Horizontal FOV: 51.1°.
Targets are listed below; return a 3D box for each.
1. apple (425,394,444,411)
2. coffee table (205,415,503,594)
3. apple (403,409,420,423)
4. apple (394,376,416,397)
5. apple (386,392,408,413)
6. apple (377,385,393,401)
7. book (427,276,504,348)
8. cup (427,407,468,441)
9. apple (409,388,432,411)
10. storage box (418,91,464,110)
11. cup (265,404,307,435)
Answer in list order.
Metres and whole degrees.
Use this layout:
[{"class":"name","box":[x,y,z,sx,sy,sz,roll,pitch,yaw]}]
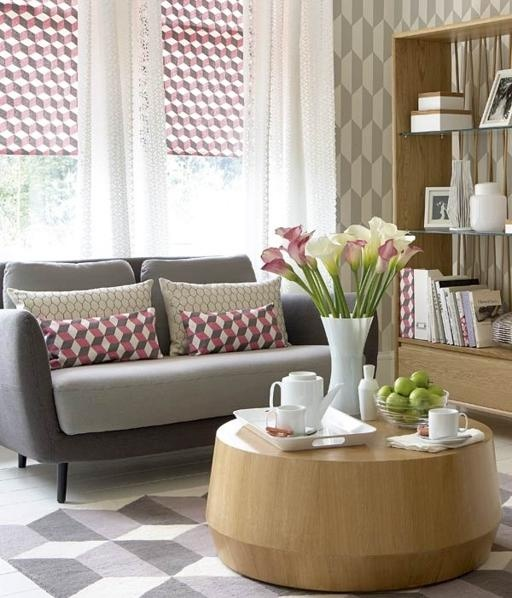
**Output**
[{"class":"apple","box":[0.426,0.247,1.278,0.037,0.043,0.036,-12,10,-42]},{"class":"coffee table","box":[0.233,0.477,1.202,0.696,0.329,0.347,-1,-3,-5]},{"class":"apple","box":[0.381,0.284,1.304,0.033,0.024,0.036,0,-8,0]},{"class":"apple","box":[0.358,0.215,1.328,0.055,0.041,0.039,-11,-37,-9]},{"class":"apple","box":[0.343,0.252,1.303,0.045,0.039,0.043,3,-4,-41]},{"class":"apple","box":[0.330,0.238,1.372,0.039,0.046,0.037,24,-25,-28]},{"class":"book","box":[1.082,0.076,2.873,0.461,0.418,0.328,-1,1,-43]},{"class":"cup","box":[0.431,0.285,1.204,0.088,0.060,0.053,7,-8,-32]},{"class":"apple","box":[0.391,0.240,1.278,0.049,0.047,0.050,-2,-1,0]},{"class":"storage box","box":[1.003,-1.073,2.908,0.108,0.067,0.150,-4,7,-42]},{"class":"cup","box":[0.072,0.268,1.204,0.086,0.056,0.052,0,2,-29]}]
